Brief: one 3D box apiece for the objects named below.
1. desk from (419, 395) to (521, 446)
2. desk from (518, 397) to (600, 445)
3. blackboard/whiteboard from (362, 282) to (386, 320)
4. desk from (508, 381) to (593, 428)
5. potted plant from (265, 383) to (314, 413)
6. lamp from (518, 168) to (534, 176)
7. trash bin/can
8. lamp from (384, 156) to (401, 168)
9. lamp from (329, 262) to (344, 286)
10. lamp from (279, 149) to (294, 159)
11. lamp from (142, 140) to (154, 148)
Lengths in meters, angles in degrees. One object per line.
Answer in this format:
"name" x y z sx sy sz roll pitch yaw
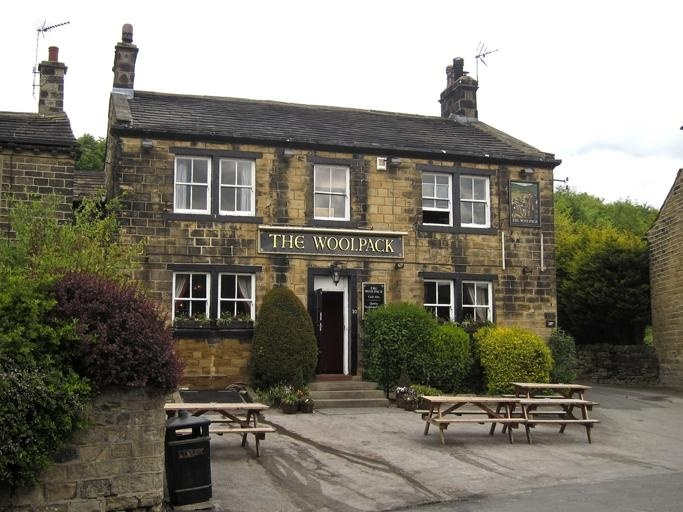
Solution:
"desk" 2.898 3.520 18.504 2.245 0.893 5.930 -1 -7 6
"desk" 4.387 3.434 17.282 1.596 0.821 1.545 2 -4 -6
"blackboard/whiteboard" 0.863 1.259 22.553 0.896 1.286 0.174 5 -14 -16
"desk" 4.585 3.275 18.005 1.603 0.876 1.706 0 -3 -4
"potted plant" -1.286 3.467 19.916 0.809 0.524 1.094 2 -7 -7
"lamp" 5.509 -2.481 24.419 0.325 0.240 0.262 -1 -6 -16
"trash bin/can" -2.384 3.160 12.736 0.703 1.426 0.349 1 -7 -13
"lamp" 1.477 -2.666 23.440 0.302 0.229 0.322 -4 -5 42
"lamp" -0.151 0.438 22.522 0.316 0.664 0.710 0 -7 -1
"lamp" -1.517 -2.831 22.688 0.423 0.242 0.298 0 -1 -21
"lamp" -5.107 -2.951 21.571 0.230 0.166 0.182 0 6 -21
